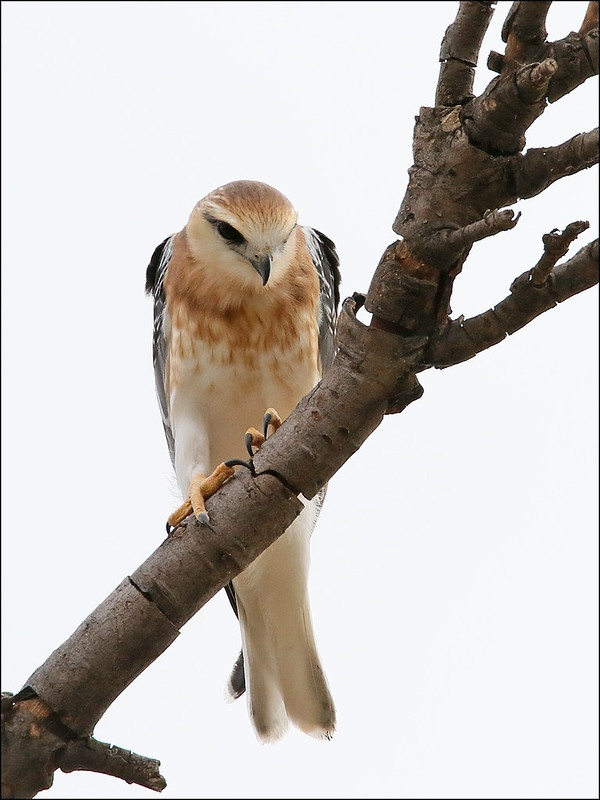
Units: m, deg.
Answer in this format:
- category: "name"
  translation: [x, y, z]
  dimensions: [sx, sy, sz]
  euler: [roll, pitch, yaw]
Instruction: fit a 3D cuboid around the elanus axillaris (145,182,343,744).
- category: "elanus axillaris"
  translation: [-0.160, 0.039, 4.063]
  dimensions: [0.443, 0.699, 1.751]
  euler: [0, -77, -8]
